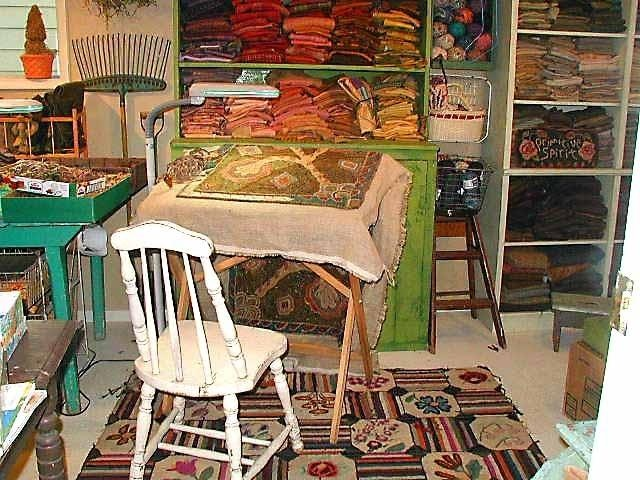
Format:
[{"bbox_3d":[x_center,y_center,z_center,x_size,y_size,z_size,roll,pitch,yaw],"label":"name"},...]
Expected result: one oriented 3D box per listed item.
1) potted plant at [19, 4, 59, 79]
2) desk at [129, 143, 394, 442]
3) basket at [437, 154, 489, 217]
[{"bbox_3d":[-1.950,-1.347,3.563,0.207,0.449,0.249,-7,13,-26],"label":"potted plant"},{"bbox_3d":[-0.199,0.182,3.364,1.693,1.407,1.487,4,26,8],"label":"desk"},{"bbox_3d":[1.022,-0.387,3.693,0.395,0.435,0.294,0,11,8],"label":"basket"}]
